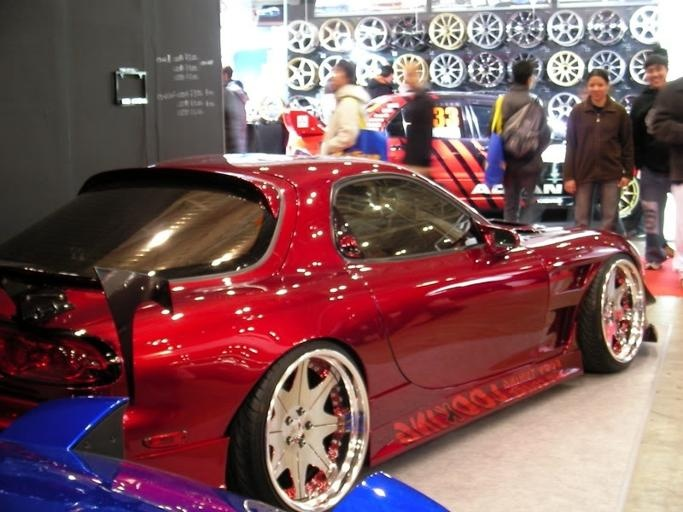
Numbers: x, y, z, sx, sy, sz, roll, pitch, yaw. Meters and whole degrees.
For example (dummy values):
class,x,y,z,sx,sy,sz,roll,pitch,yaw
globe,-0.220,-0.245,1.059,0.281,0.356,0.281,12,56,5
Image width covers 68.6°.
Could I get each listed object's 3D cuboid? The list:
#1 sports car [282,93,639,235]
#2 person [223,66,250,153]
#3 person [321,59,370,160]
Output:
class,x,y,z,sx,sy,sz,roll,pitch,yaw
sports car,1.822,-1.617,8.885,6.006,1.960,2.447,-2,7,-12
person,-1.864,-2.592,8.780,0.389,1.509,1.569,-3,9,-11
person,-0.016,-1.587,5.279,0.458,1.040,0.594,2,10,18
